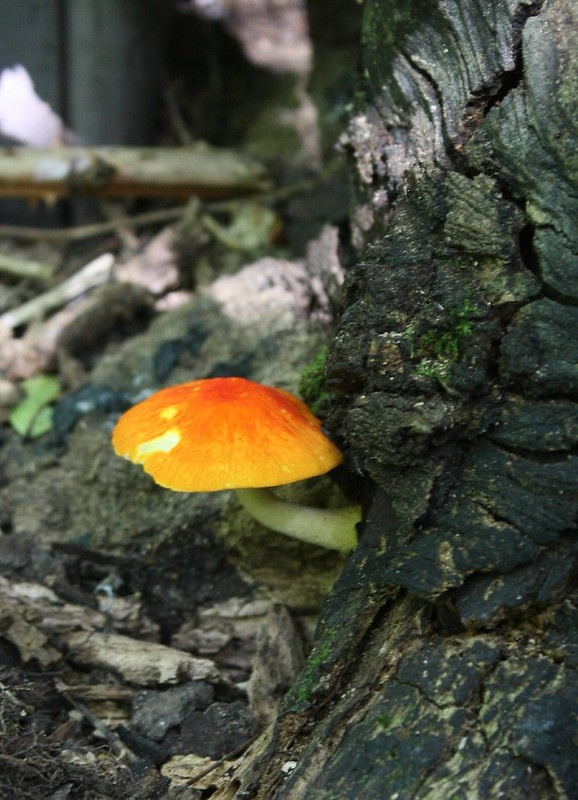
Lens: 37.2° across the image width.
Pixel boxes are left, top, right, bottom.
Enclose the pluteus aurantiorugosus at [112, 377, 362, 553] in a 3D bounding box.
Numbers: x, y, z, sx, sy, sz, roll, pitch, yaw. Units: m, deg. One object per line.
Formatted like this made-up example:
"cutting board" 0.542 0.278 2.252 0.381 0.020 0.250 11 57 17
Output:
"pluteus aurantiorugosus" -0.205 0.203 3.226 0.883 0.434 0.752 -1 22 -13
